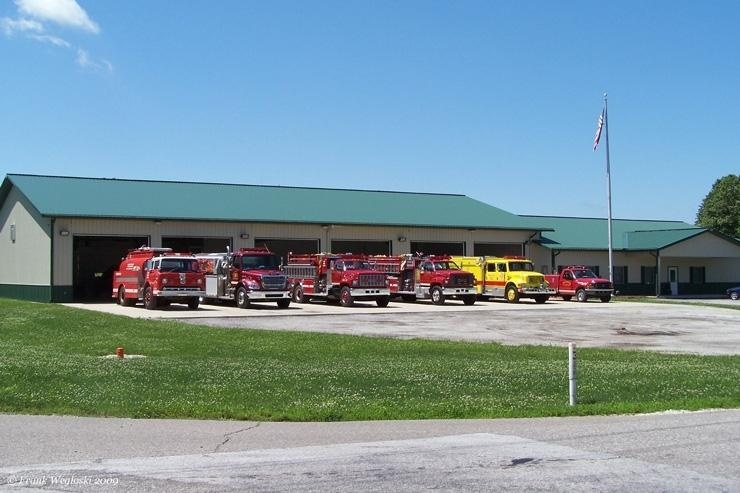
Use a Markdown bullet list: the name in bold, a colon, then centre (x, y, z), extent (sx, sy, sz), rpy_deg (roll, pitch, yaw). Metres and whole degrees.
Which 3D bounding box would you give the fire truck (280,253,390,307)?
- **fire truck**: centre (-1.818, 1.587, 47.529), extent (3.163, 2.630, 6.756), rpy_deg (1, -1, -31)

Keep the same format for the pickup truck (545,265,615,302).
- **pickup truck**: centre (12.657, 2.219, 55.154), extent (2.410, 2.104, 5.792), rpy_deg (0, -2, -23)

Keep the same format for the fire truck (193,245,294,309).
- **fire truck**: centre (-6.035, 1.371, 42.984), extent (2.328, 2.485, 6.870), rpy_deg (1, 0, -39)

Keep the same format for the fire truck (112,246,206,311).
- **fire truck**: centre (-9.965, 1.585, 42.126), extent (3.095, 2.850, 6.547), rpy_deg (-1, -2, -26)
